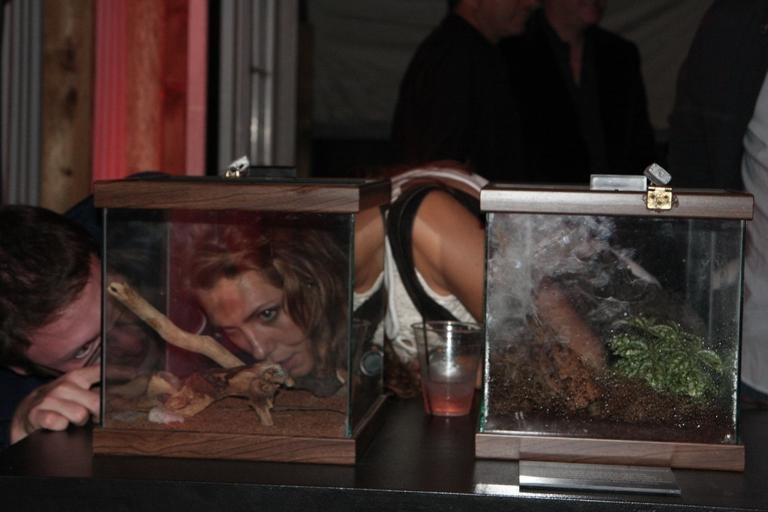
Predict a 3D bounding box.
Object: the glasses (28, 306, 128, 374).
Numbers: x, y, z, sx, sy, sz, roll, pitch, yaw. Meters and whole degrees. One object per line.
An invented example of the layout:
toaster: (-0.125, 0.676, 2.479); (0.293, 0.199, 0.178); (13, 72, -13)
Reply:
glasses: (-0.745, 0.188, 1.928); (0.283, 0.208, 0.081); (3, 6, 35)

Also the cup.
cup: (0.148, 0.259, 1.971); (0.212, 0.195, 0.206); (0, 2, 0)

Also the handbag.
handbag: (0.424, 0.079, 1.617); (0.416, 0.266, 0.217); (1, 4, 10)
